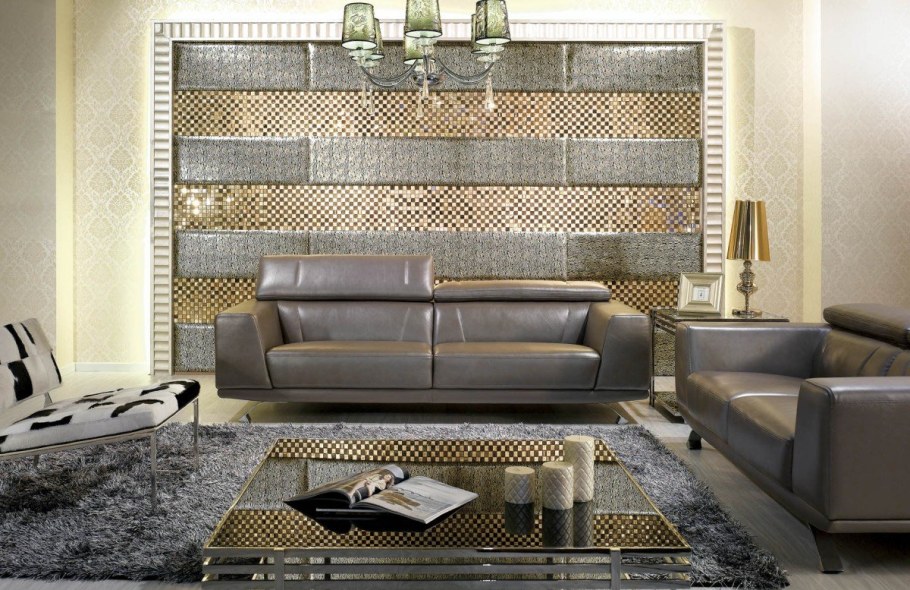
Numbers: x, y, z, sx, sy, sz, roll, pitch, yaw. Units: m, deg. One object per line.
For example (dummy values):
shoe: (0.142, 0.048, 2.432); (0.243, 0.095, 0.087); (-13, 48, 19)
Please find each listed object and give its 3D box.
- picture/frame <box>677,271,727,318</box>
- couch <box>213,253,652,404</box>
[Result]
picture/frame: (1.808, 0.011, 5.111); (0.353, 0.369, 0.028); (5, -18, 16)
couch: (-0.200, 0.255, 5.065); (2.881, 1.045, 0.789); (-1, 9, -1)
